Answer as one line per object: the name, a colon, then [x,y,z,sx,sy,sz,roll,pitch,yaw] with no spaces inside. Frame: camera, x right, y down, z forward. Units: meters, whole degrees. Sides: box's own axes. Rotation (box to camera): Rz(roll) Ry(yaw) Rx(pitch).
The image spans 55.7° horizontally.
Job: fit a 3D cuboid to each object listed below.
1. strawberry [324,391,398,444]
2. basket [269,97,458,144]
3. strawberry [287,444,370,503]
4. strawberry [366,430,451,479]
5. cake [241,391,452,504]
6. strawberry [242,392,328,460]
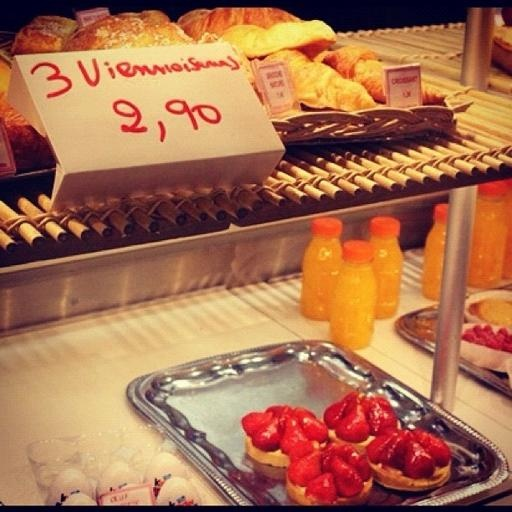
strawberry: [0.191,0.294,0.881,0.109,0.036,0.089,-1,21,2]
basket: [0.176,-0.210,0.778,0.373,0.074,0.057,-15,31,-23]
strawberry: [0.118,0.331,0.723,0.113,0.038,0.095,-3,13,-10]
strawberry: [0.251,0.320,0.789,0.099,0.027,0.082,-2,14,-6]
cake: [0.130,0.280,0.797,0.190,0.053,0.211,-10,18,-34]
strawberry: [0.048,0.292,0.852,0.115,0.039,0.097,4,14,7]
